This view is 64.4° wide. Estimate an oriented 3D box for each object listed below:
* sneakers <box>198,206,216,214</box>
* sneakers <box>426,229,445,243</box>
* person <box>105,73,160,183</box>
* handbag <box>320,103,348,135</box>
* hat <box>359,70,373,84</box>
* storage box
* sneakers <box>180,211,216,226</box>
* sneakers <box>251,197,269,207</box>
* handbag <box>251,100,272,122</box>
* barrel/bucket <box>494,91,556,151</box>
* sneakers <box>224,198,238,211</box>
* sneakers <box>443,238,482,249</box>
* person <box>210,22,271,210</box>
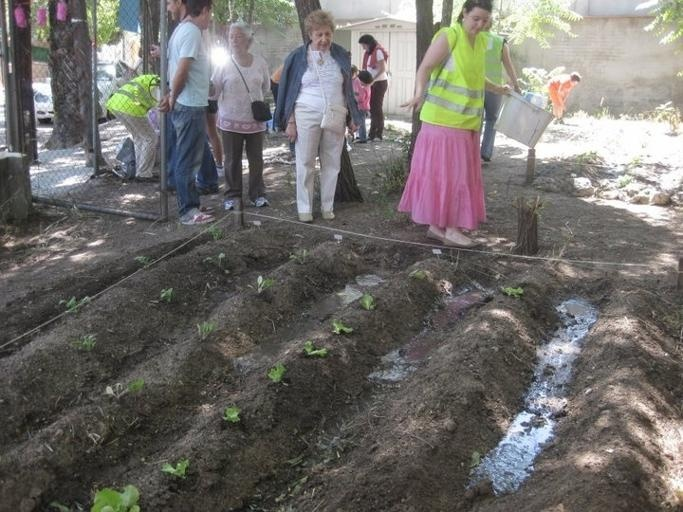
[{"bbox_3d":[-1.739,-0.589,6.985,0.068,0.100,0.210,-6,9,-25],"label":"sneakers"},{"bbox_3d":[1.072,-0.236,6.250,0.228,0.122,0.090,8,15,25],"label":"sneakers"},{"bbox_3d":[-3.166,-2.026,8.607,0.856,1.609,0.505,5,17,10],"label":"person"},{"bbox_3d":[-0.083,-1.588,6.294,0.095,0.306,0.267,17,11,39],"label":"handbag"},{"bbox_3d":[0.486,-3.564,10.812,0.284,0.246,0.240,-1,18,-7],"label":"hat"},{"bbox_3d":[2.236,-1.658,6.884,0.673,0.532,0.628,30,2,9],"label":"storage box"},{"bbox_3d":[-1.747,-0.467,6.661,0.407,0.222,0.186,-2,15,3],"label":"sneakers"},{"bbox_3d":[-1.095,-0.718,7.275,0.095,0.103,0.225,-2,2,-25],"label":"sneakers"},{"bbox_3d":[-1.015,-1.820,6.905,0.290,0.280,0.280,5,18,9],"label":"handbag"},{"bbox_3d":[2.208,-1.675,6.727,0.624,0.504,0.585,30,6,-4],"label":"barrel/bucket"},{"bbox_3d":[-1.458,-0.667,7.011,0.161,0.085,0.259,2,23,-3],"label":"sneakers"},{"bbox_3d":[1.340,-0.126,6.121,0.355,0.128,0.147,-3,10,5],"label":"sneakers"},{"bbox_3d":[-1.301,-1.773,7.003,0.726,2.298,0.615,-1,16,-9],"label":"person"}]
